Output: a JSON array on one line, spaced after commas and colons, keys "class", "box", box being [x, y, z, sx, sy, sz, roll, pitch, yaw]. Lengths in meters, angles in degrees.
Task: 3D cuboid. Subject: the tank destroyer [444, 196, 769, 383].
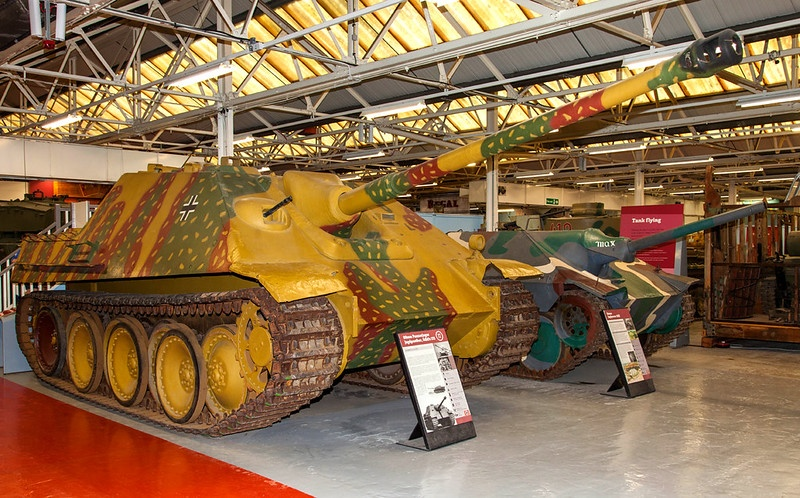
[{"class": "tank destroyer", "box": [3.326, 0.812, 15.044, 6.220, 2.770, 4.100, 1, 3, 37]}]

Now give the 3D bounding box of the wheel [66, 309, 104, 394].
[{"class": "wheel", "box": [-6.074, 2.021, 11.896, 0.409, 1.942, 1.819, 0, 1, -38]}]

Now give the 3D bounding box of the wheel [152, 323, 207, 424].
[{"class": "wheel", "box": [-3.657, 2.120, 10.300, 0.362, 1.918, 1.809, -3, 4, -43]}]

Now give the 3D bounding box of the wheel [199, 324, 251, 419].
[{"class": "wheel", "box": [-2.758, 2.020, 9.784, 0.355, 1.398, 1.299, 0, 21, -47]}]

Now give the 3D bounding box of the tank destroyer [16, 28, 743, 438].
[{"class": "tank destroyer", "box": [-2.416, 0.615, 12.029, 11.450, 4.860, 6.400, 1, 2, 41]}]

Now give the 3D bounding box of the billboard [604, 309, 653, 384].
[{"class": "billboard", "box": [4.804, 2.059, 12.938, 0.161, 1.058, 1.578, -18, -32, 31]}]

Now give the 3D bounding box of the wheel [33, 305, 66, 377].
[{"class": "wheel", "box": [-7.285, 1.964, 12.818, 0.304, 1.619, 1.513, -5, 10, -41]}]

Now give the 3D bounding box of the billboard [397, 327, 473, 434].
[{"class": "billboard", "box": [0.530, 2.123, 9.873, 1.020, 1.541, 0.576, -5, 9, -36]}]
